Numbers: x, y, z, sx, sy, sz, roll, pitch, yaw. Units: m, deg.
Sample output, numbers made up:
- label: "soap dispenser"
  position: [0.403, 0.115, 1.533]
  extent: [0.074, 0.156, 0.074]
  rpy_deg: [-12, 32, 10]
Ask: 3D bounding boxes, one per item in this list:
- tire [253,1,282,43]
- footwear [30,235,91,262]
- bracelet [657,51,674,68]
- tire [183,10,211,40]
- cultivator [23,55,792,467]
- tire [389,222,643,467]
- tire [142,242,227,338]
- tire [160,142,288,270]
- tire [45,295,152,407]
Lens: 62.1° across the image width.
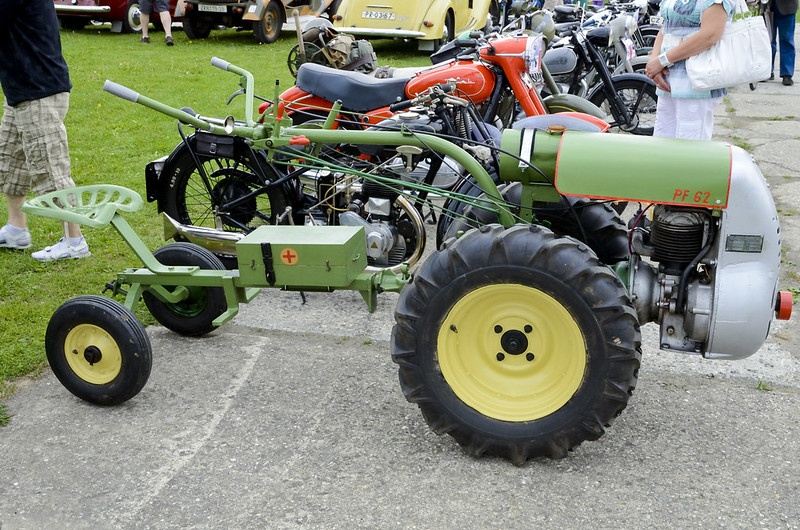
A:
- label: "tire"
  position: [-2.884, -5.279, 14.231]
  extent: [0.303, 0.919, 0.956]
  rpy_deg: [8, 9, 25]
- label: "footwear"
  position: [-3.052, -0.150, 6.000]
  extent: [0.559, 0.245, 0.196]
  rpy_deg: [0, 11, -11]
- label: "bracelet"
  position: [2.124, -1.656, 5.302]
  extent: [0.095, 0.049, 0.125]
  rpy_deg: [-5, -3, 6]
- label: "tire"
  position: [-4.467, -5.302, 14.453]
  extent: [0.154, 0.474, 0.495]
  rpy_deg: [9, 14, 33]
- label: "cultivator"
  position: [-0.200, -0.211, 4.793]
  extent: [5.197, 2.291, 2.360]
  rpy_deg: [3, 22, 11]
- label: "tire"
  position: [0.683, 0.516, 3.838]
  extent: [1.434, 1.339, 0.466]
  rpy_deg: [-2, 7, 12]
- label: "tire"
  position: [-1.590, 0.195, 4.856]
  extent: [0.674, 0.688, 0.234]
  rpy_deg: [5, 17, 9]
- label: "tire"
  position: [-1.423, -0.487, 5.360]
  extent: [1.069, 1.077, 0.160]
  rpy_deg: [13, 29, 12]
- label: "tire"
  position: [-1.975, 0.581, 4.314]
  extent: [0.581, 0.582, 0.176]
  rpy_deg: [20, 7, 9]
